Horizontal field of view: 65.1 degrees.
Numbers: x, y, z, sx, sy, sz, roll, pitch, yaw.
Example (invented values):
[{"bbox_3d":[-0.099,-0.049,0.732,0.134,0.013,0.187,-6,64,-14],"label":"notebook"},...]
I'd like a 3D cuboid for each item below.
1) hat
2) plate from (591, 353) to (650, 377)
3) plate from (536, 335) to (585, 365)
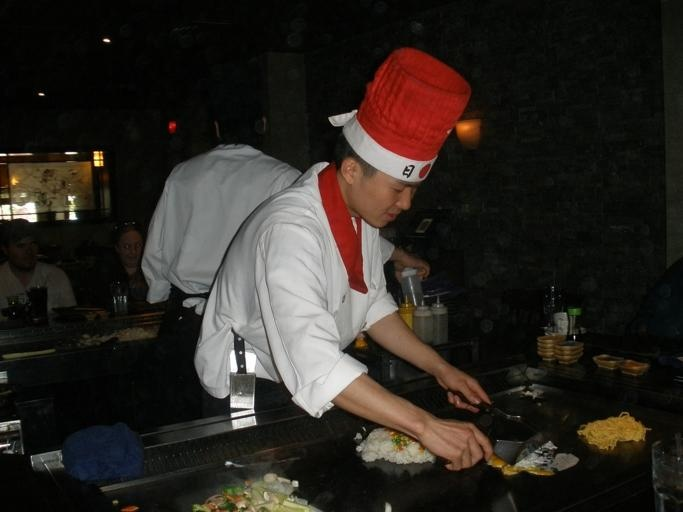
[{"bbox_3d":[0.184,-0.418,1.616,0.386,0.401,0.114,0,5,12],"label":"hat"},{"bbox_3d":[1.114,0.432,2.133,0.193,0.041,0.157,2,5,36],"label":"plate"},{"bbox_3d":[0.914,0.385,2.230,0.150,0.061,0.110,-2,3,-30],"label":"plate"}]
